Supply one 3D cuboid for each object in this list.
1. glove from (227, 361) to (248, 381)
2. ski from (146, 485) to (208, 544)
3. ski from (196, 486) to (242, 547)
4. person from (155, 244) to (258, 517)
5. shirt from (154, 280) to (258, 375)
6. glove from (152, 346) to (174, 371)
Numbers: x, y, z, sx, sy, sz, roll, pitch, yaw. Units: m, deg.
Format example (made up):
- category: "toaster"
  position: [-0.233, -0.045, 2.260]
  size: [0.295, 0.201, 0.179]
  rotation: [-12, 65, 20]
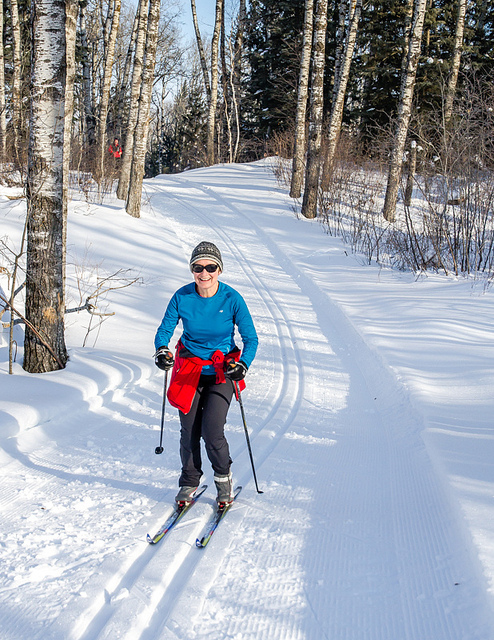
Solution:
- category: "glove"
  position: [-0.067, 0.328, 4.100]
  size: [0.085, 0.099, 0.110]
  rotation: [39, -11, -38]
- category: "ski"
  position: [-0.470, 1.244, 4.096]
  size: [0.063, 0.068, 0.608]
  rotation: [17, 19, 16]
- category: "ski"
  position: [-0.208, 1.260, 4.103]
  size: [0.079, 0.078, 0.726]
  rotation: [5, 14, 7]
- category: "person"
  position: [-0.295, 0.383, 4.248]
  size: [0.664, 1.757, 0.548]
  rotation: [5, 10, -6]
- category: "shirt"
  position: [-0.272, 0.082, 4.212]
  size: [0.718, 0.646, 0.517]
  rotation: [5, 16, -4]
- category: "glove"
  position: [-0.545, 0.248, 4.210]
  size: [0.111, 0.147, 0.131]
  rotation: [27, 54, 38]
